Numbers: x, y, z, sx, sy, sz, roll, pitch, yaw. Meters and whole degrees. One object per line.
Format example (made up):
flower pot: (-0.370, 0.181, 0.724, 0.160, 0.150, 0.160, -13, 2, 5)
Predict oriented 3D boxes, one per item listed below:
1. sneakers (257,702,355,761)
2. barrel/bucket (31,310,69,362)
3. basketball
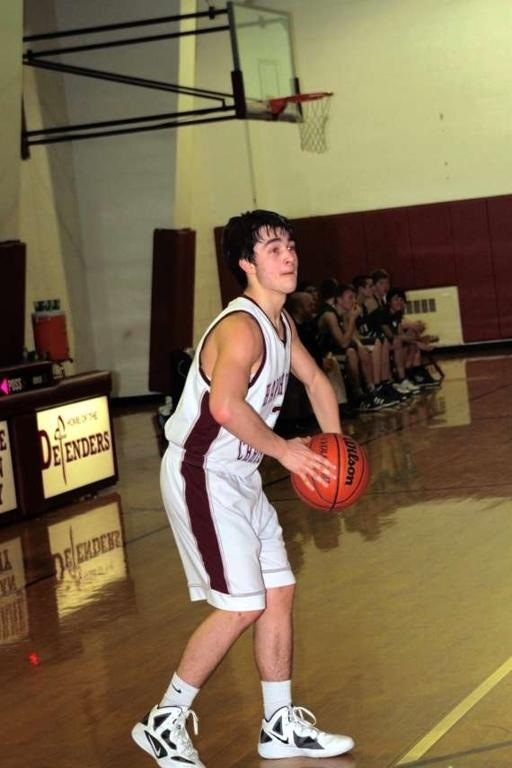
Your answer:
sneakers: (0.092, 0.796, 1.372, 0.285, 0.149, 0.096, -1, 0, 6)
barrel/bucket: (-1.789, -0.406, 5.027, 0.261, 0.334, 0.204, -6, -2, -26)
basketball: (0.200, 0.223, 1.486, 0.185, 0.188, 0.192, 21, -33, -4)
